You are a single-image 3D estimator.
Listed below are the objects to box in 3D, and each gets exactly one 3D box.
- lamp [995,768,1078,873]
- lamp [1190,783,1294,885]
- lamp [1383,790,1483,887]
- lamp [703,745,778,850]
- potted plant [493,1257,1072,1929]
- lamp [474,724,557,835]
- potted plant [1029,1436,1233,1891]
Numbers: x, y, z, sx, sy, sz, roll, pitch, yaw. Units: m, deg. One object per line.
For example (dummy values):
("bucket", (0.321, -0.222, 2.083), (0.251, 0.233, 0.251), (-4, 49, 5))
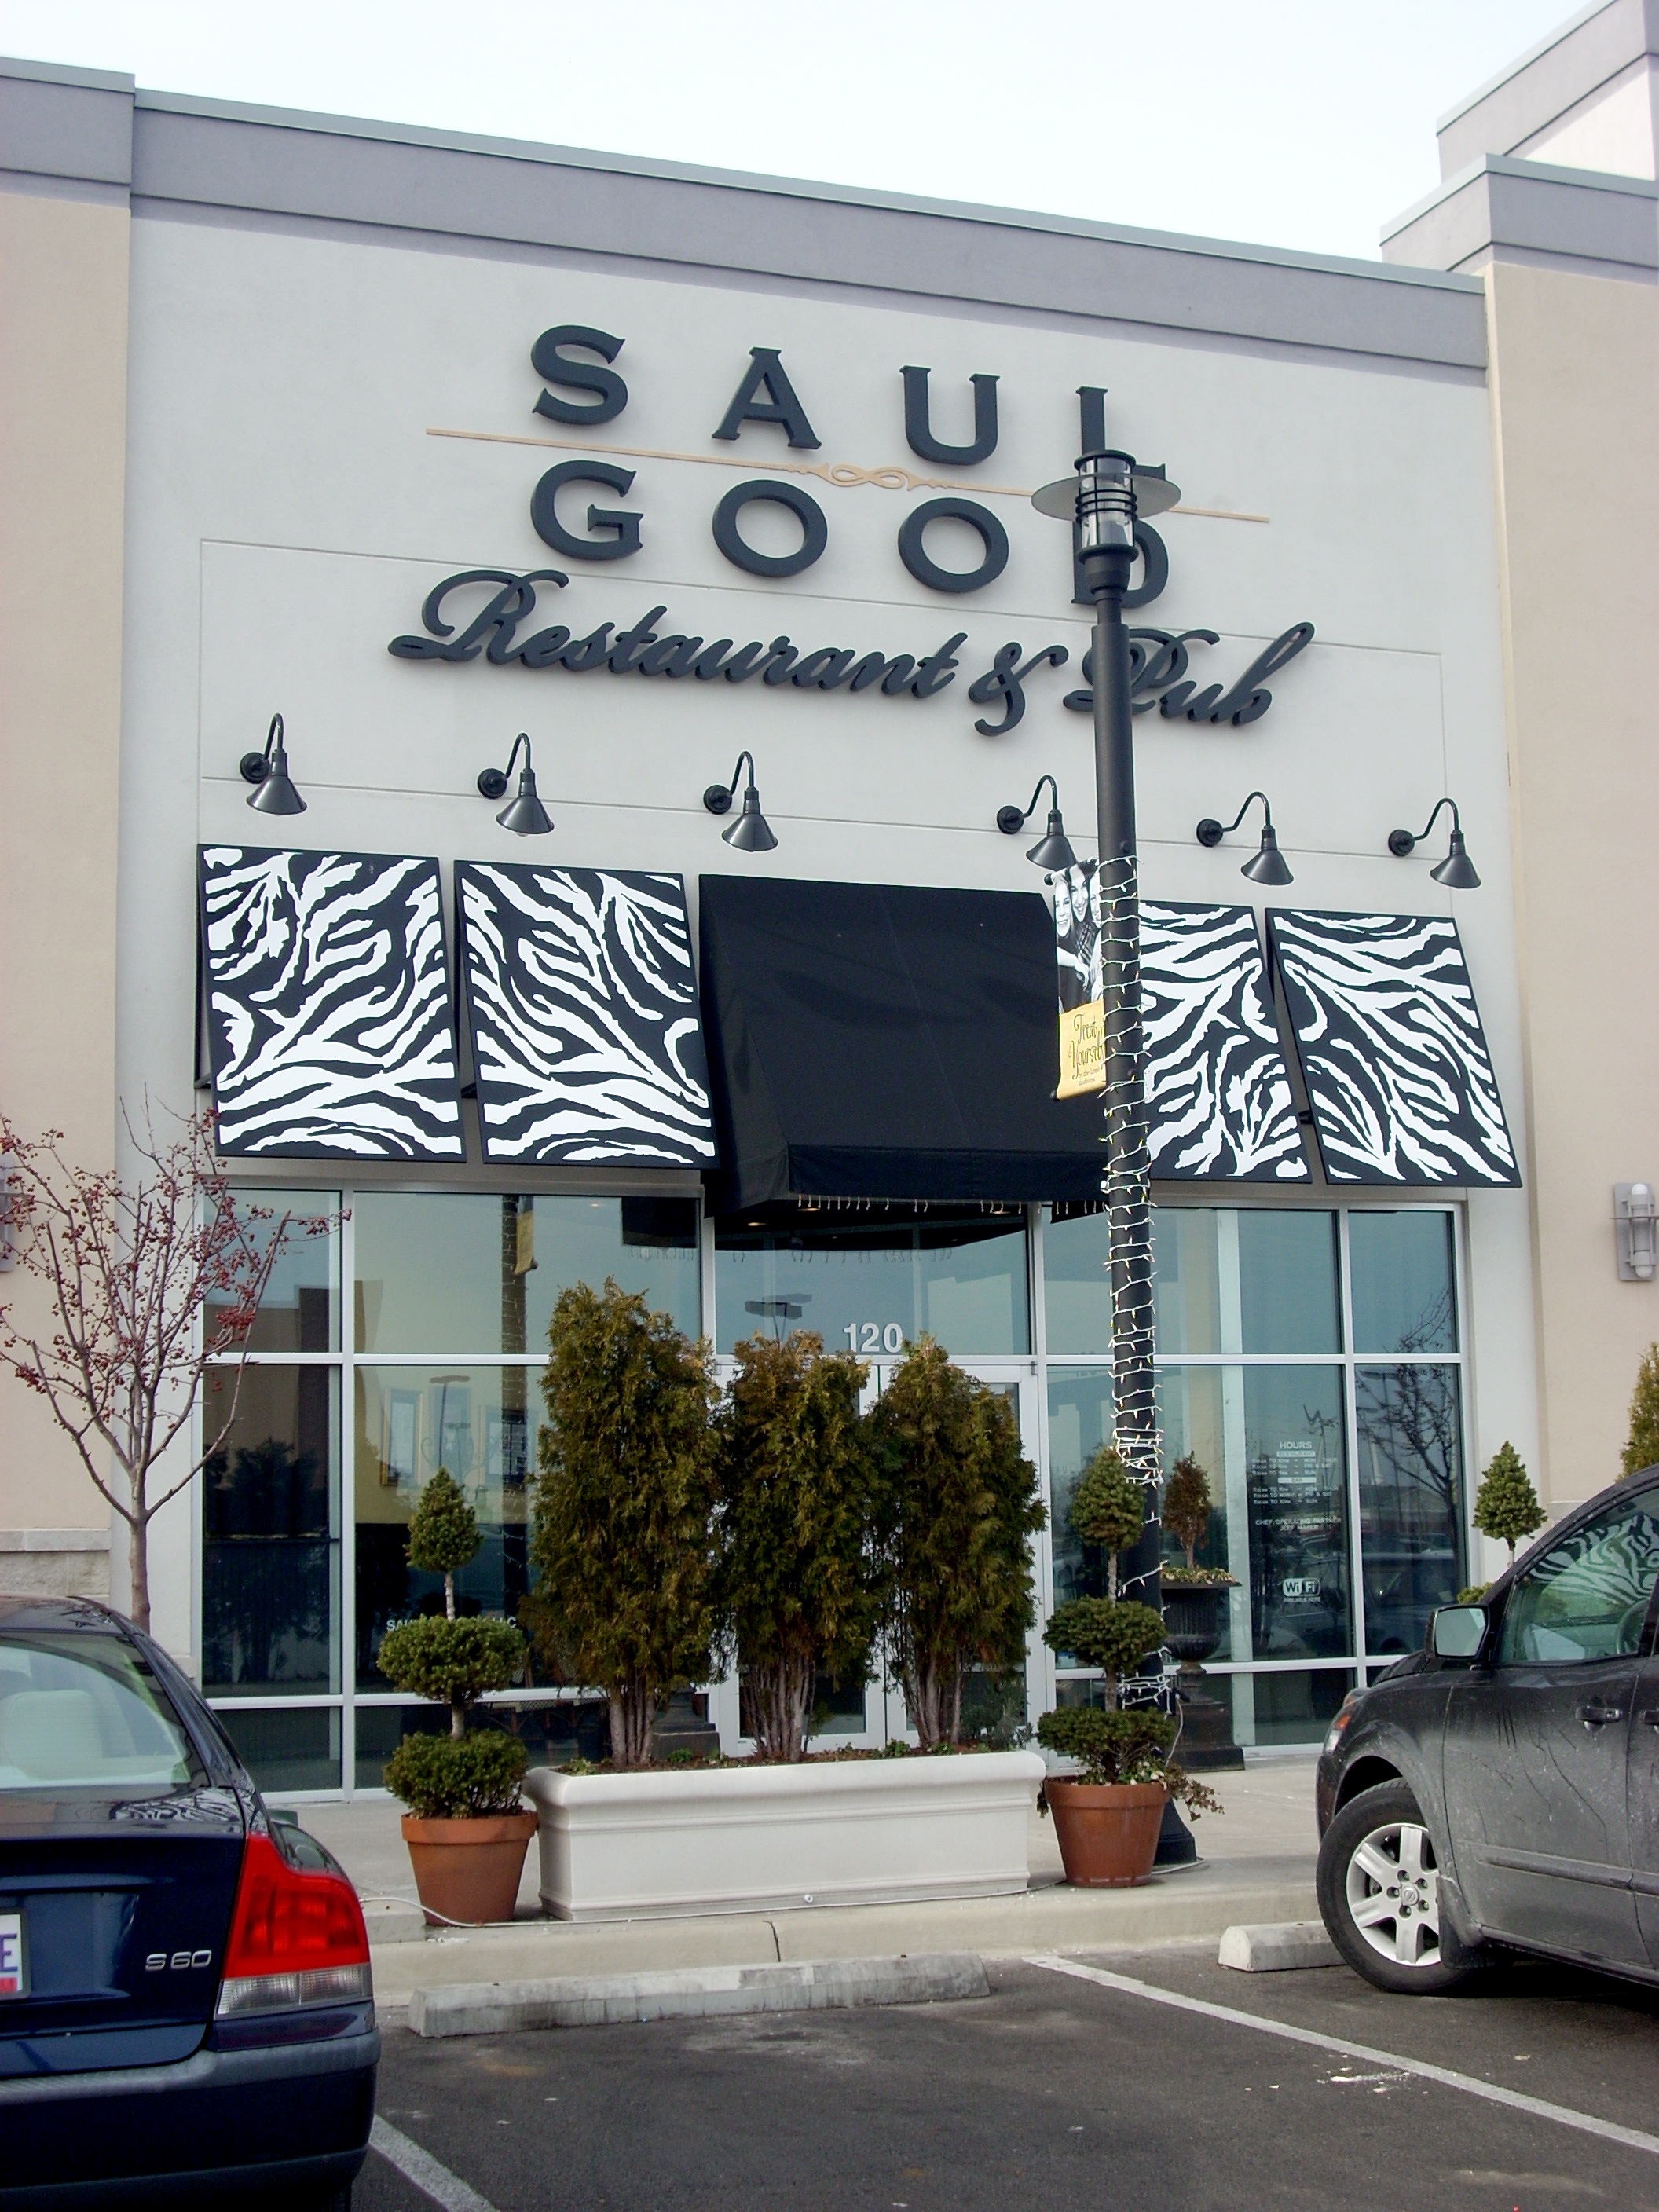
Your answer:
("lamp", (1.361, -1.752, 16.423), (0.436, 0.608, 0.792), (6, 0, -22))
("lamp", (2.752, -1.747, 17.084), (0.420, 0.636, 0.796), (6, -7, -34))
("lamp", (4.108, -1.784, 17.489), (0.685, 0.712, 0.700), (0, -5, -12))
("lamp", (-0.493, -1.882, 15.903), (0.464, 0.690, 0.647), (1, -5, -12))
("potted plant", (-0.313, 2.173, 11.484), (2.984, 3.054, 1.216), (2, -9, -25))
("lamp", (-1.904, -1.854, 15.317), (0.393, 0.622, 0.705), (9, 0, -17))
("potted plant", (0.980, 2.340, 11.182), (0.654, 1.701, 0.561), (13, -12, -5))
